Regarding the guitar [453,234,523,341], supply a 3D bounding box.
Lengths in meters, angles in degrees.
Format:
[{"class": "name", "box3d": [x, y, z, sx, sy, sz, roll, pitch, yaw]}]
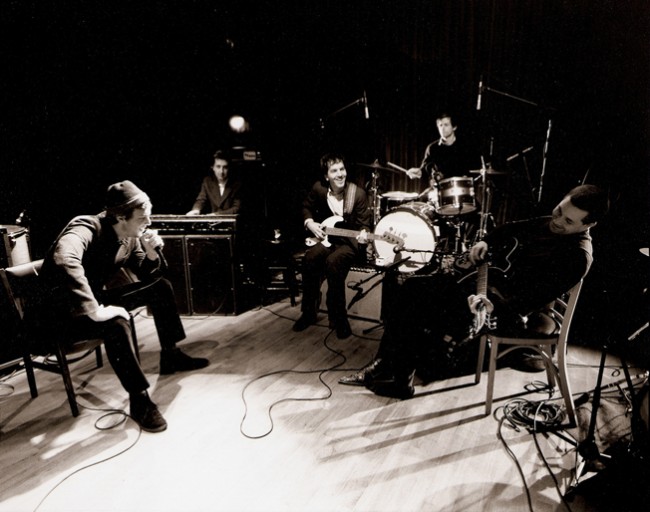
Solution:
[{"class": "guitar", "box3d": [1.218, 0.189, 4.025, 0.491, 0.145, 1.349, -15, 18, 25]}]

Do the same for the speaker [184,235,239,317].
[{"class": "speaker", "box3d": [-1.155, 0.269, 5.374, 0.479, 0.935, 0.318, 3, -34, -23]}]

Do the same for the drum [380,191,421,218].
[{"class": "drum", "box3d": [0.808, -0.622, 5.785, 0.351, 0.422, 0.386, -1, 4, -2]}]

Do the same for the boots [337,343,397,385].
[{"class": "boots", "box3d": [0.376, 0.927, 4.265, 0.440, 0.328, 0.188, 0, -26, 33]}]

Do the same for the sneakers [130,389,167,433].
[{"class": "sneakers", "box3d": [-1.306, 1.110, 3.871, 0.411, 0.198, 0.172, 21, 23, 35]}]

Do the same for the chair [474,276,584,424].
[{"class": "chair", "box3d": [1.532, 0.788, 4.072, 0.708, 0.978, 0.706, -14, -34, 40]}]
